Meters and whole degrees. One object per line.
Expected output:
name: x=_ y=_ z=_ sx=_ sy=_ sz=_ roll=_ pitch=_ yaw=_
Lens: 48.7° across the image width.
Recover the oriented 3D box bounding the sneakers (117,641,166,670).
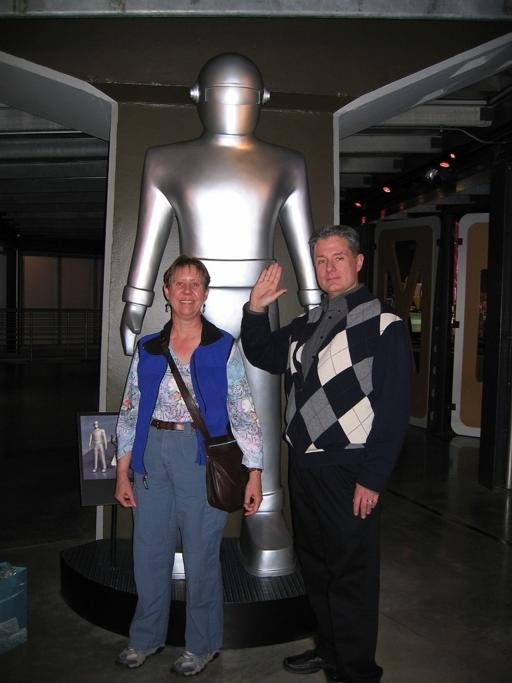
sneakers: x=-0.378 y=1.010 z=1.875 sx=0.057 sy=0.070 sz=0.147 roll=9 pitch=8 yaw=37

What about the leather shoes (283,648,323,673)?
leather shoes: x=0.160 y=1.031 z=1.844 sx=0.142 sy=0.059 sz=0.058 roll=4 pitch=-2 yaw=-2

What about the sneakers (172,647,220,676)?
sneakers: x=-0.201 y=1.004 z=1.813 sx=0.063 sy=0.078 sz=0.158 roll=14 pitch=4 yaw=41
